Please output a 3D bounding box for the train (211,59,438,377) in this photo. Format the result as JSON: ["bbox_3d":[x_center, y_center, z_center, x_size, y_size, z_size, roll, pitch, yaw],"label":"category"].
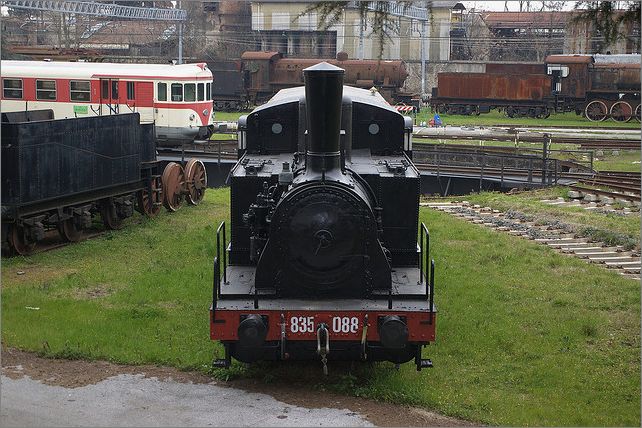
[{"bbox_3d":[0.378,-0.348,16.537,4.250,5.905,7.628,2,10,6],"label":"train"}]
